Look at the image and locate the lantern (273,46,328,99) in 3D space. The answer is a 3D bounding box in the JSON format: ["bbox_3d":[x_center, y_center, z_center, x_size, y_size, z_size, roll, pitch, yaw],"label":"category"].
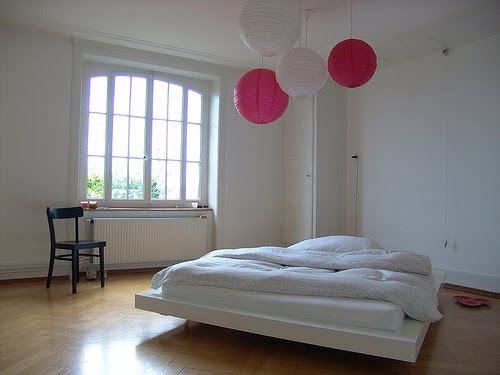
[{"bbox_3d":[0.456,-1.029,3.489,0.391,0.474,0.442,-1,2,-1],"label":"lantern"}]

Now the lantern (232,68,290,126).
[{"bbox_3d":[0.103,-0.847,3.680,0.514,0.619,0.537,2,-16,10],"label":"lantern"}]

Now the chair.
[{"bbox_3d":[-2.166,0.732,4.649,0.524,1.006,0.545,-3,-3,27],"label":"chair"}]

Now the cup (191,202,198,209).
[{"bbox_3d":[-0.900,0.288,6.087,0.079,0.118,0.097,-1,-9,5],"label":"cup"}]

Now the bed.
[{"bbox_3d":[0.466,0.868,3.325,2.197,0.541,1.345,2,3,27],"label":"bed"}]

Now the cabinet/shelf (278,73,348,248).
[{"bbox_3d":[1.293,-0.417,6.299,0.589,2.511,0.554,-2,-2,14],"label":"cabinet/shelf"}]

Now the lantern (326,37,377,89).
[{"bbox_3d":[0.992,-1.211,3.633,0.430,0.523,0.437,6,-14,-16],"label":"lantern"}]
